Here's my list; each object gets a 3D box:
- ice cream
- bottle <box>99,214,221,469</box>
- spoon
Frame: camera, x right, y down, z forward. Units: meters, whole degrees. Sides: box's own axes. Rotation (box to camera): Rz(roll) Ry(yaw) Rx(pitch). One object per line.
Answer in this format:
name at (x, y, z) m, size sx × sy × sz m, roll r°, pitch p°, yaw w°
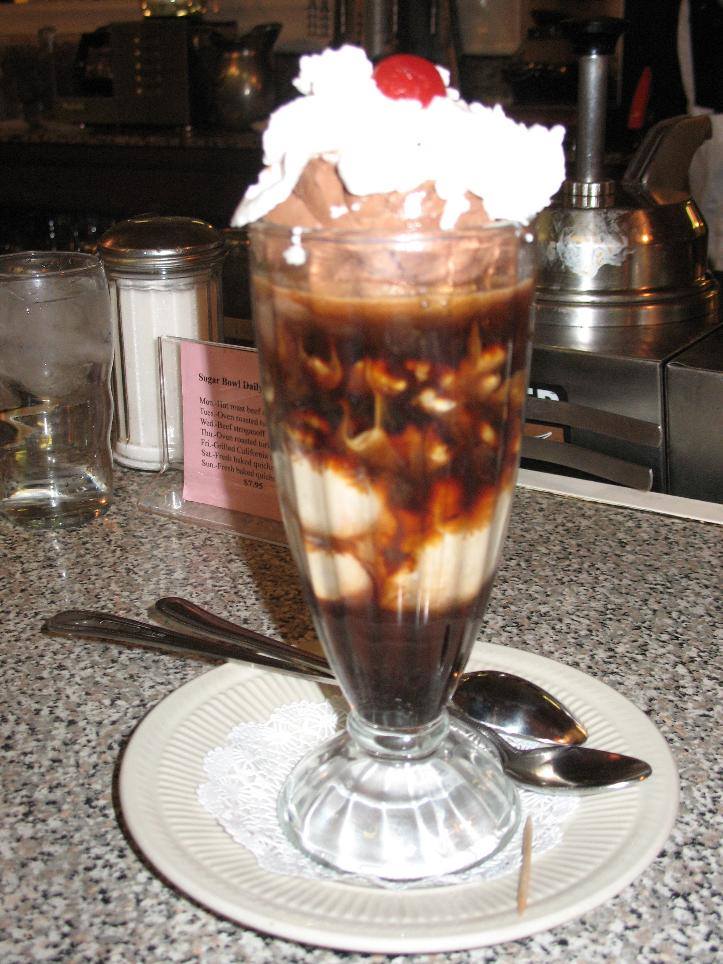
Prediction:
ice cream at (0.023, -0.025, 0.475) m, size 0.182 × 0.333 × 0.159 m, roll -3°, pitch 20°, yaw -8°
bottle at (-0.225, -0.150, 1.003) m, size 0.151 × 0.274 × 0.194 m, roll -1°, pitch 17°, yaw 3°
spoon at (-0.012, 0.134, 0.541) m, size 0.328 × 0.040 × 0.060 m, roll 9°, pitch -22°, yaw 4°
